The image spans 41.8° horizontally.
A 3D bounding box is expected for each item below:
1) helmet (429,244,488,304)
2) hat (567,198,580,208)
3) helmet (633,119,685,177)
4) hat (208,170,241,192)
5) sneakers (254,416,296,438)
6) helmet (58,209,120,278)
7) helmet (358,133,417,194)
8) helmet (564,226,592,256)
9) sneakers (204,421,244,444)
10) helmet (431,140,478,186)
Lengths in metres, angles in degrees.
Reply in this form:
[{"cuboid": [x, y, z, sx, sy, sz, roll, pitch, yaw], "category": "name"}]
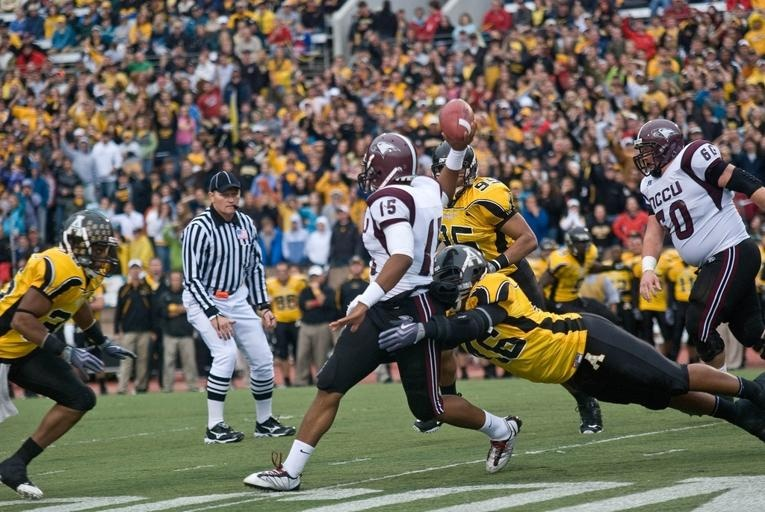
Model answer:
[{"cuboid": [0.698, 0.092, 8.851, 0.568, 0.458, 0.421, -15, 10, -15], "category": "helmet"}, {"cuboid": [3.077, -0.862, 16.352, 0.150, 0.113, 0.172, 5, 7, 43], "category": "hat"}, {"cuboid": [2.658, -1.057, 10.014, 0.605, 0.562, 0.451, -10, 0, 3], "category": "helmet"}, {"cuboid": [-1.654, -0.782, 10.516, 0.217, 0.175, 0.301, -3, -1, -34], "category": "hat"}, {"cuboid": [-1.155, 1.830, 10.688, 0.468, 0.211, 0.181, 1, -7, 1], "category": "sneakers"}, {"cuboid": [-2.633, -0.140, 9.044, 0.600, 0.582, 0.490, 8, 3, 20], "category": "helmet"}, {"cuboid": [0.057, -0.802, 8.915, 0.594, 0.581, 0.474, 12, 17, 39], "category": "helmet"}, {"cuboid": [2.490, -0.229, 12.972, 0.312, 0.358, 0.371, -14, 36, 3], "category": "helmet"}, {"cuboid": [-1.631, 1.813, 10.375, 0.387, 0.197, 0.267, -3, 2, -11], "category": "sneakers"}, {"cuboid": [0.673, -0.932, 10.044, 0.443, 0.449, 0.580, -1, 12, 12], "category": "helmet"}]
